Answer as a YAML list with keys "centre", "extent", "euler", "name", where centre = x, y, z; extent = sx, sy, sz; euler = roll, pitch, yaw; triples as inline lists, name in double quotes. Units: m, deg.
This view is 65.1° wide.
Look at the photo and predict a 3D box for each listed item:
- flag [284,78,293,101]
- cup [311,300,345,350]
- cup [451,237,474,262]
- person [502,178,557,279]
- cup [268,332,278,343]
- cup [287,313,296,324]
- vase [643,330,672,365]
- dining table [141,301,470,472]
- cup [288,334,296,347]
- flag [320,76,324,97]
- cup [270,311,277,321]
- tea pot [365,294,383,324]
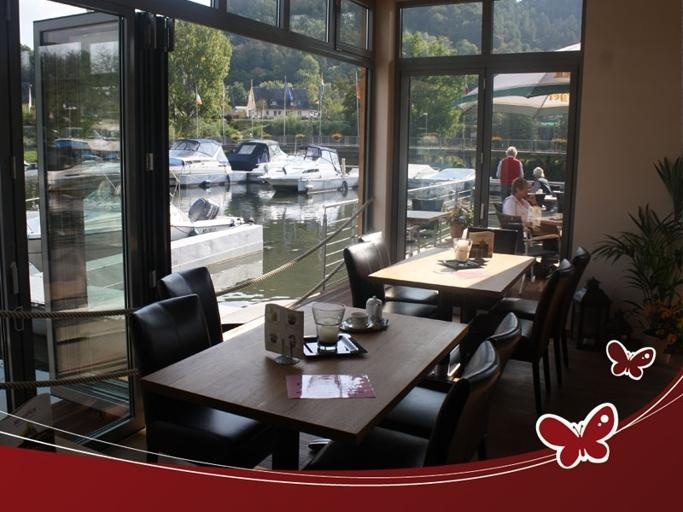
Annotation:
- centre: [-0.674, -2.153, 6.891]
  extent: [0.104, 0.297, 0.210]
  euler: [-11, 17, -38]
  name: "flag"
- centre: [-0.100, 0.336, 2.685]
  extent: [0.193, 0.216, 0.184]
  euler: [1, 4, 0]
  name: "cup"
- centre: [0.986, -0.059, 4.480]
  extent: [0.162, 0.193, 0.169]
  euler: [0, 16, 0]
  name: "cup"
- centre: [1.900, -0.525, 5.652]
  extent: [0.500, 0.807, 0.438]
  euler: [-3, 25, 5]
  name: "person"
- centre: [-0.320, 0.385, 2.534]
  extent: [0.041, 0.041, 0.041]
  euler: [0, 5, 0]
  name: "cup"
- centre: [-0.228, 0.281, 2.438]
  extent: [0.046, 0.045, 0.025]
  euler: [14, 19, 43]
  name: "cup"
- centre: [2.710, 0.772, 4.668]
  extent: [0.230, 0.259, 0.227]
  euler: [-11, 16, -34]
  name: "vase"
- centre: [-0.177, 0.534, 2.361]
  extent: [0.745, 0.487, 1.007]
  euler: [8, 16, 28]
  name: "dining table"
- centre: [-0.226, 0.387, 2.466]
  extent: [0.032, 0.056, 0.053]
  euler: [9, 18, 27]
  name: "cup"
- centre: [-0.245, -2.168, 6.799]
  extent: [0.031, 0.231, 0.198]
  euler: [-4, 14, -15]
  name: "flag"
- centre: [-0.313, 0.277, 2.512]
  extent: [0.043, 0.042, 0.032]
  euler: [4, 4, 37]
  name: "cup"
- centre: [0.190, 0.293, 3.012]
  extent: [0.081, 0.152, 0.142]
  euler: [1, 12, 5]
  name: "tea pot"
